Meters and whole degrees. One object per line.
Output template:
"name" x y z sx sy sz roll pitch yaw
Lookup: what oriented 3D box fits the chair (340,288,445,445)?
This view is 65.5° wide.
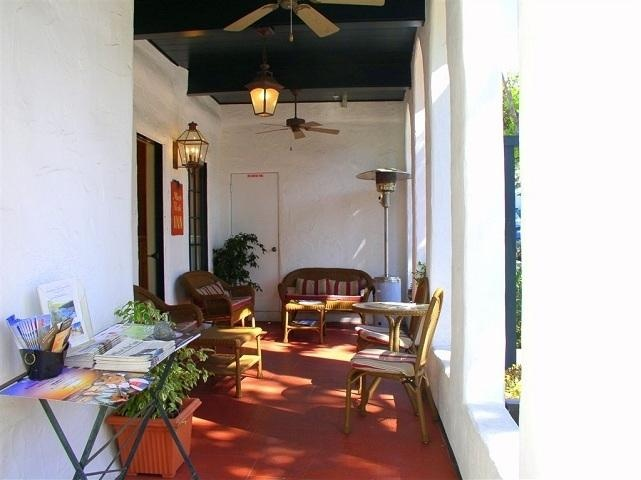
"chair" 0.509 1.000 4.419 0.996 1.709 0.939 2 -3 9

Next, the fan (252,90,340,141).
"fan" -0.305 -1.808 6.963 1.165 0.664 1.290 -5 17 -11

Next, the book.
"book" -1.049 0.577 2.689 0.389 0.075 0.404 3 5 10

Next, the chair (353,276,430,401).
"chair" 0.632 0.984 4.752 0.812 1.256 0.766 -7 10 3

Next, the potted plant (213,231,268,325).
"potted plant" -1.404 0.421 8.289 0.954 1.325 0.915 1 2 -39

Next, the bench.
"bench" -0.023 0.802 7.754 1.167 0.785 1.066 0 -5 6

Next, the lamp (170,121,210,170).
"lamp" -1.753 -1.254 6.985 0.341 0.716 0.506 -5 3 -14

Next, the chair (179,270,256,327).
"chair" -1.455 0.929 7.111 0.841 0.990 0.889 -1 4 19

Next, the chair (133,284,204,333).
"chair" -1.646 0.763 5.618 0.753 0.727 0.577 1 1 -10

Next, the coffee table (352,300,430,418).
"coffee table" 0.655 0.887 4.448 0.525 0.595 0.499 -8 -3 42

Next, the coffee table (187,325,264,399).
"coffee table" -1.006 1.203 5.166 0.816 0.507 0.872 -2 3 -29

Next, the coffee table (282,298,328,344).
"coffee table" -0.222 1.191 7.373 0.773 0.581 0.796 1 0 -28
